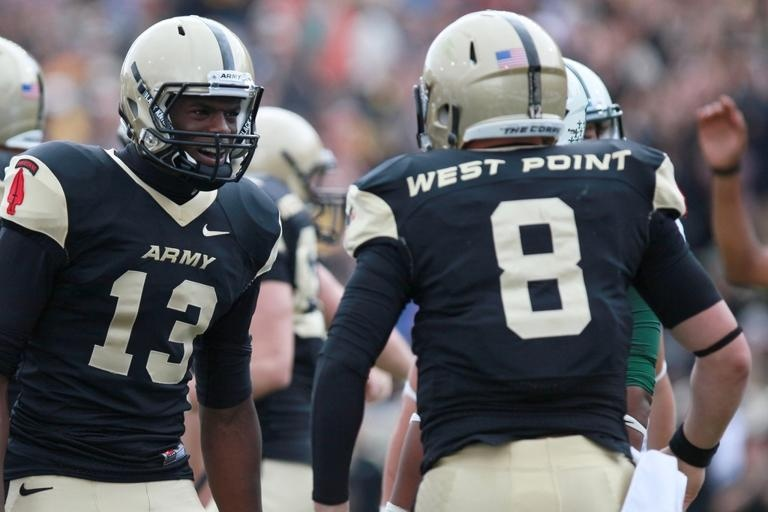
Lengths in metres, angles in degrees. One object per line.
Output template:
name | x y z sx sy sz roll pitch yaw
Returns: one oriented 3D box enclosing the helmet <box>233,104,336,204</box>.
helmet | -0.553 -0.589 5.787 0.518 0.448 0.416 22 1 -5
